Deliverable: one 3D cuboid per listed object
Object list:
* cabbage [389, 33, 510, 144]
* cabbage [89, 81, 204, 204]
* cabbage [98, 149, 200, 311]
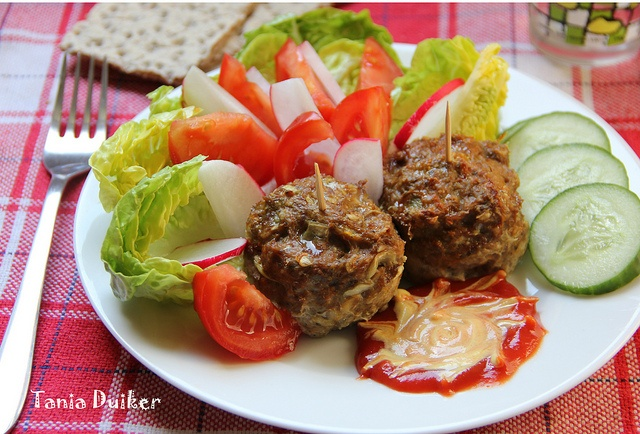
[{"bbox_3d":[1.038,-0.960,4.186,0.882,0.385,0.903,8,71,4],"label":"cabbage"},{"bbox_3d":[-1.221,-0.455,3.660,0.545,0.326,0.833,4,56,8],"label":"cabbage"},{"bbox_3d":[-0.950,0.125,3.281,0.831,0.416,0.686,-41,74,-18],"label":"cabbage"}]
